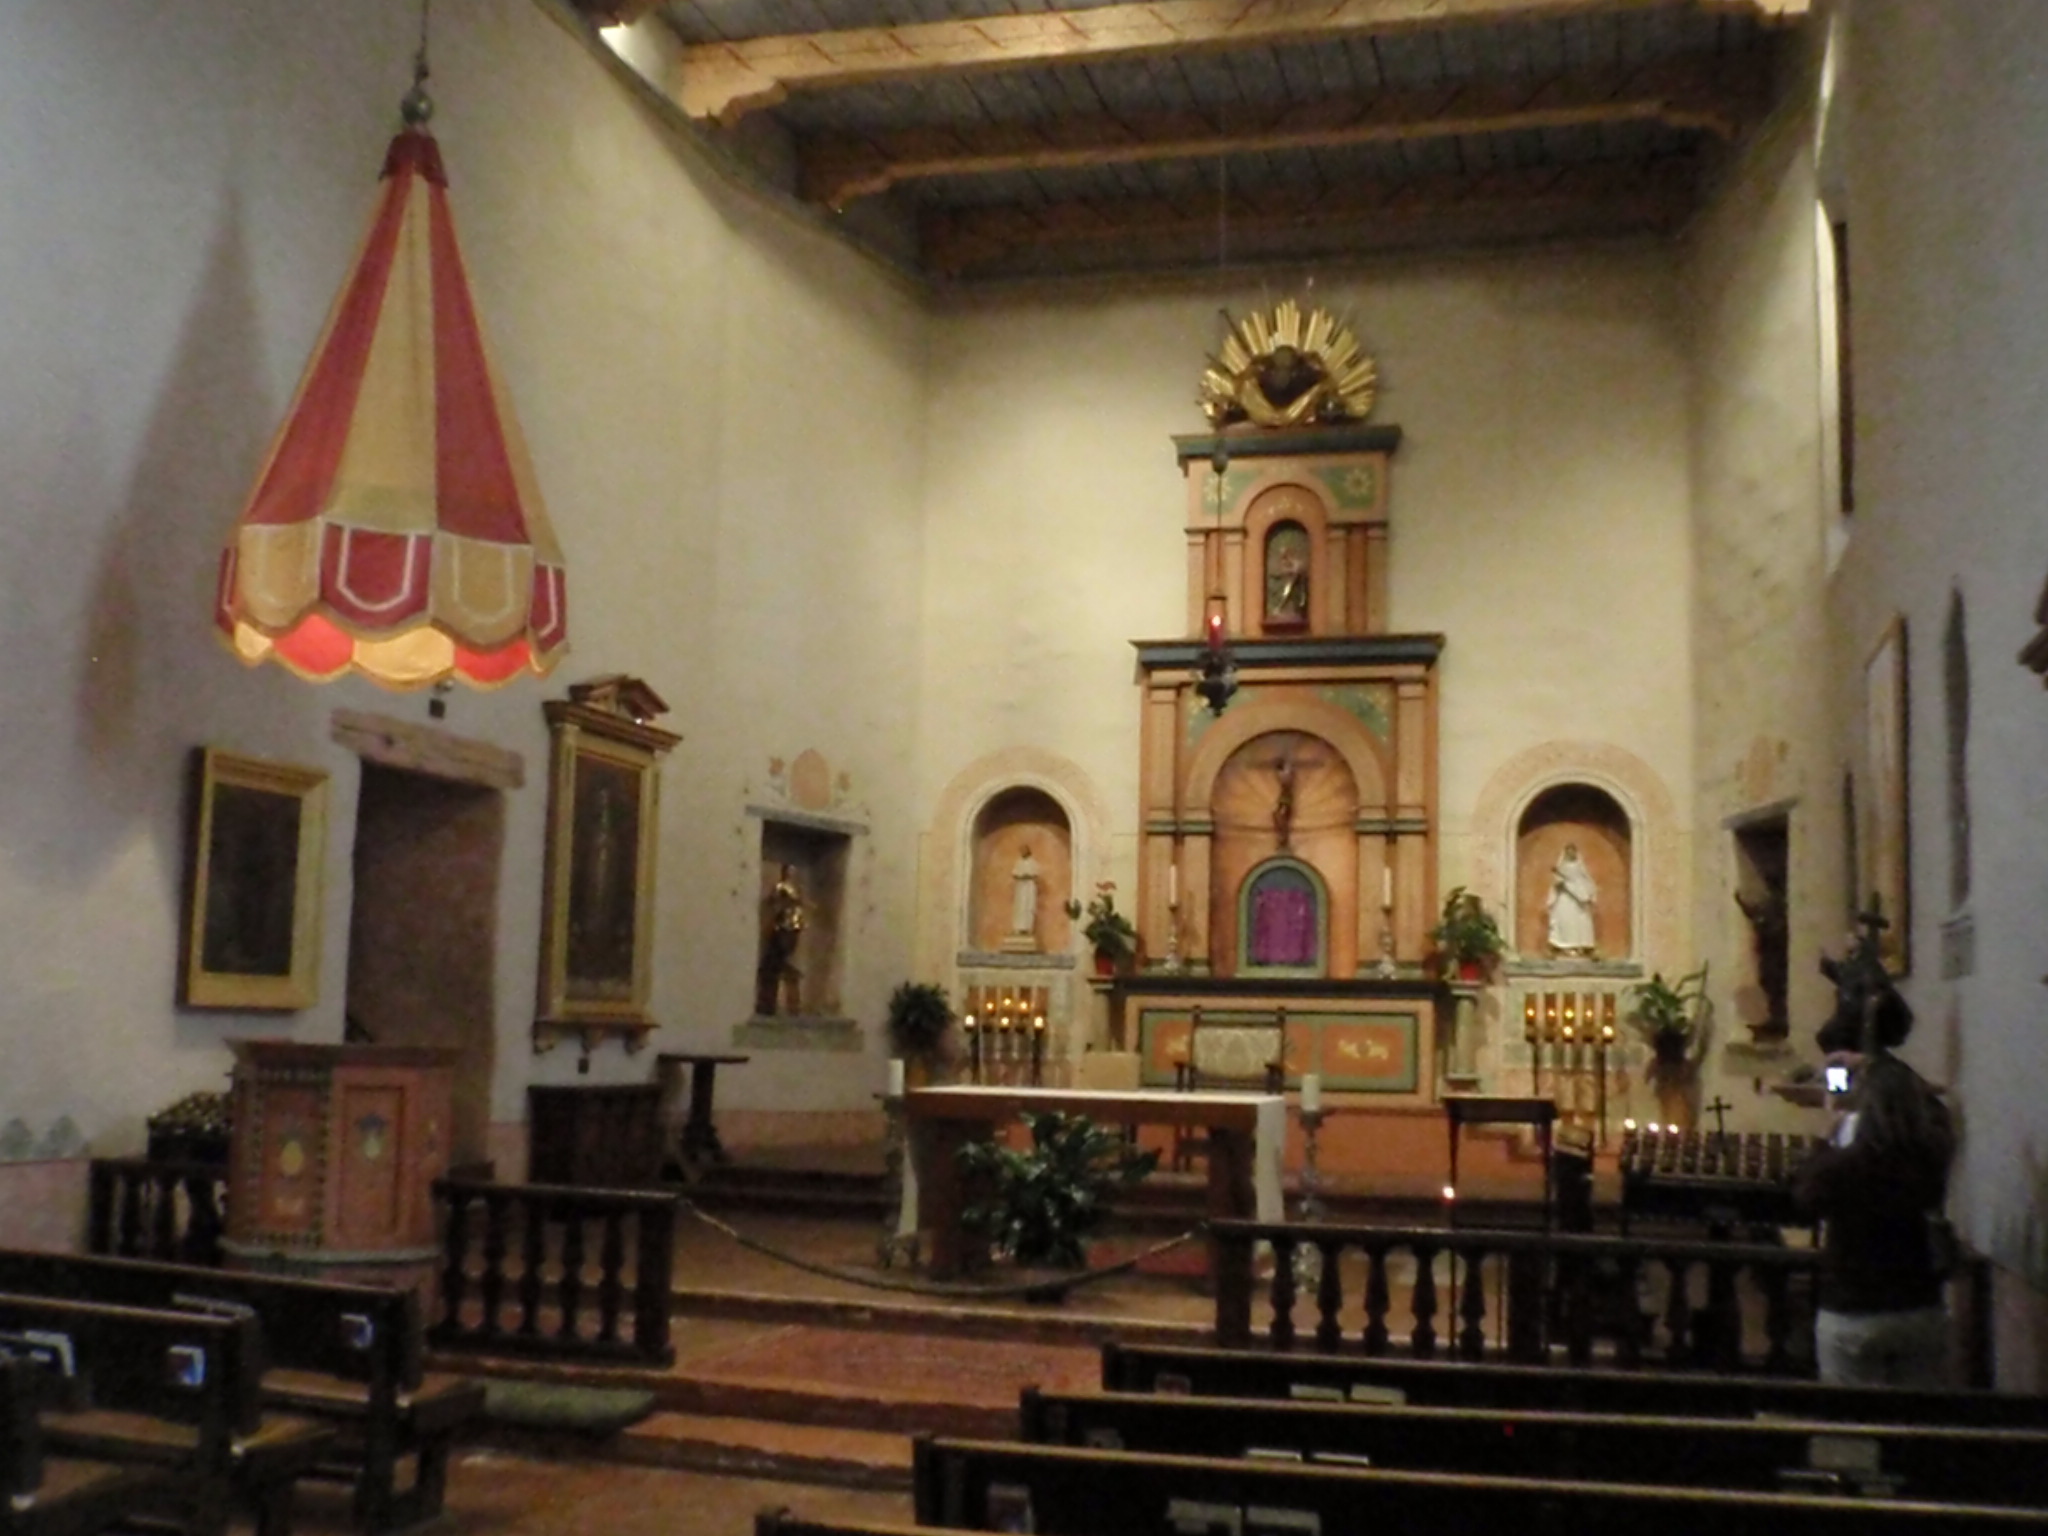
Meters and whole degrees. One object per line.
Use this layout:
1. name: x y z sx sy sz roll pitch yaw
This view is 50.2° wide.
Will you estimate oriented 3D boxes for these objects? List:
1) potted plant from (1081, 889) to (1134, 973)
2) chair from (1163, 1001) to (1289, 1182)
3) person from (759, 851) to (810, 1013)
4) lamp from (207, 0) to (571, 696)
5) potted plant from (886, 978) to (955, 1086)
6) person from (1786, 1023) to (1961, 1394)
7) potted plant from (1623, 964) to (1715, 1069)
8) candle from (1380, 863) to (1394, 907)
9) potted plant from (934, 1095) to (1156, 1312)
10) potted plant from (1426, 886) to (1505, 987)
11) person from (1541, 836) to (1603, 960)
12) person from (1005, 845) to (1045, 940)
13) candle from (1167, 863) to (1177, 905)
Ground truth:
1. potted plant: 0.800 1.433 19.732 0.491 0.832 0.680 1 -9 3
2. chair: 1.737 2.351 17.939 0.954 1.684 0.980 -3 -23 13
3. person: -2.096 1.477 19.124 0.302 1.333 0.715 1 -9 2
4. lamp: -3.595 -2.313 12.668 1.826 3.510 1.054 5 -9 -23
5. potted plant: -0.947 2.379 19.952 0.475 0.926 0.671 -6 -11 38
6. person: 3.432 1.678 8.763 0.571 1.522 0.530 -2 -9 22
7. potted plant: 5.467 2.076 18.318 0.699 0.758 0.737 3 -12 1
8. candle: 3.223 1.033 19.265 0.121 0.396 0.318 0 -9 6
9. potted plant: 0.100 2.455 12.369 0.955 1.033 1.267 5 -9 -21
10. potted plant: 3.828 1.442 18.996 0.746 0.991 0.696 3 -13 -7
11. person: 4.868 1.141 19.304 0.471 1.026 0.373 -1 -9 14
12. person: 0.043 1.196 20.500 0.268 0.967 0.315 1 -9 0
13. candle: 1.376 1.034 19.765 0.105 0.417 0.251 1 -9 -1
